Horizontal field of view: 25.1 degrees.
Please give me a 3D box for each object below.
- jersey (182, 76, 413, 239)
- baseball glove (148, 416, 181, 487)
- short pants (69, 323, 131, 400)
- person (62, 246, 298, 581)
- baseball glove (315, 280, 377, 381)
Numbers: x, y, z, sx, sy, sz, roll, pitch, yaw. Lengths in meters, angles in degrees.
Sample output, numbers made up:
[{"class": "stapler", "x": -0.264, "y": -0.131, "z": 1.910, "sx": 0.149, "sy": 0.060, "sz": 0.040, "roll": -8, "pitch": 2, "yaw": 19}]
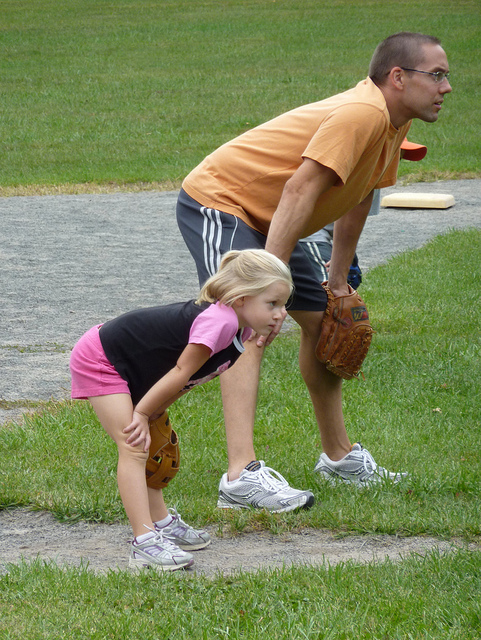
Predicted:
[{"class": "jersey", "x": 0.205, "y": -0.637, "z": 3.856, "sx": 0.821, "sy": 0.519, "sz": 0.703, "roll": 0, "pitch": 4, "yaw": 1}, {"class": "baseball glove", "x": -0.242, "y": 0.418, "z": 3.458, "sx": 0.115, "sy": 0.193, "sz": 0.144, "roll": -1, "pitch": 13, "yaw": -16}, {"class": "short pants", "x": -0.465, "y": 0.032, "z": 3.359, "sx": 0.195, "sy": 0.231, "sz": 0.343, "roll": -5, "pitch": 7, "yaw": -13}, {"class": "person", "x": -0.199, "y": 0.167, "z": 3.919, "sx": 1.136, "sy": 1.493, "sz": 0.763, "roll": 3, "pitch": 7, "yaw": 3}, {"class": "baseball glove", "x": 0.418, "y": 0.007, "z": 4.146, "sx": 0.177, "sy": 0.353, "sz": 0.281, "roll": -4, "pitch": 7, "yaw": 32}]
